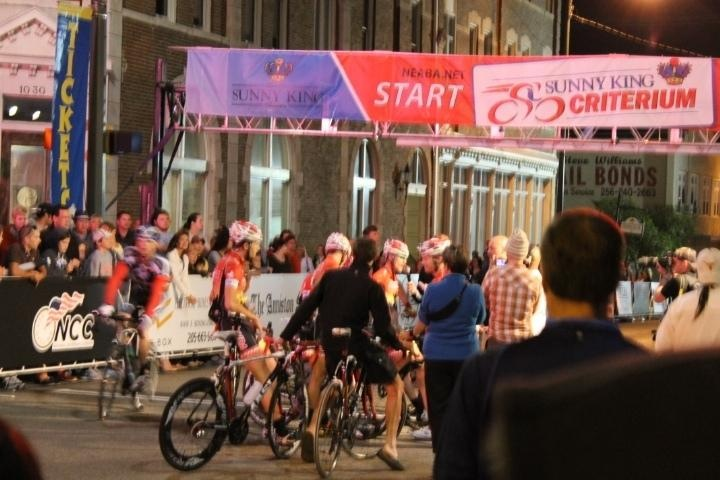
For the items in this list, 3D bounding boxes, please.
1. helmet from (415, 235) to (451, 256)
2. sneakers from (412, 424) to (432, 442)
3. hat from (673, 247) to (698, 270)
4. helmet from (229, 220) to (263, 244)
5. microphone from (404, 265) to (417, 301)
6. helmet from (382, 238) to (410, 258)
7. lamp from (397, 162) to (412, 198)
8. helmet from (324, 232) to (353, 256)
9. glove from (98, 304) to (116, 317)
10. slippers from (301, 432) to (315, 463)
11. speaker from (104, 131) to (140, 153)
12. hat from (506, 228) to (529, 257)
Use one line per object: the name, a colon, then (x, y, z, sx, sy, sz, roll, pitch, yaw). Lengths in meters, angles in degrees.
helmet: (1.164, 0.087, 19.337, 0.383, 0.225, 0.321, -7, -2, -7)
sneakers: (0.925, 3.121, 20.044, 0.466, 0.229, 0.195, 1, -9, 7)
hat: (5.768, 0.329, 21.910, 0.354, 0.454, 0.504, 6, 17, 8)
helmet: (-1.760, -0.141, 19.016, 0.459, 0.426, 0.363, -15, 9, -13)
microphone: (0.980, 0.862, 24.617, 0.196, 0.697, 0.168, 9, -24, -28)
helmet: (0.603, 0.152, 20.222, 0.352, 0.309, 0.291, -5, 12, -26)
lamp: (1.521, -2.118, 42.939, 0.353, 1.042, 1.088, 2, 1, 16)
helmet: (-0.382, 0.049, 19.504, 0.283, 0.404, 0.395, 2, 6, 17)
glove: (-4.193, 1.164, 20.242, 0.197, 0.166, 0.202, 9, -13, -14)
slippers: (-0.784, 3.047, 18.192, 0.187, 0.542, 0.567, 2, 1, -3)
speaker: (-4.956, -2.018, 25.580, 0.501, 0.461, 0.797, 3, -2, -10)
hat: (2.342, 0.073, 18.457, 0.286, 0.417, 0.421, 3, -9, 0)
